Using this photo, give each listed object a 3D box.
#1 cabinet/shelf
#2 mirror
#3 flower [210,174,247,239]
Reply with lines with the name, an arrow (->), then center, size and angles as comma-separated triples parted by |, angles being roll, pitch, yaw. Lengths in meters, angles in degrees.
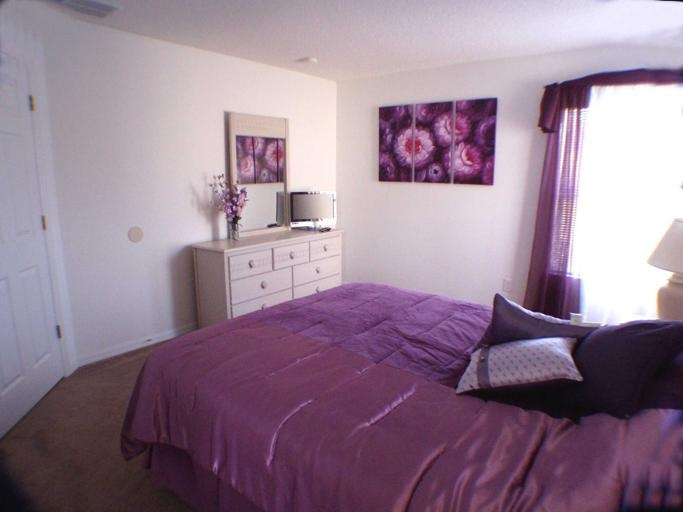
cabinet/shelf -> -0.758, 0.197, 4.138 | 0.319, 0.539, 0.860 | 7, 14, 35
mirror -> -0.845, -0.787, 4.843 | 0.609, 1.178, 0.050 | -10, 21, -28
flower -> -1.096, -0.445, 4.534 | 0.279, 0.506, 0.326 | -3, -6, -37
